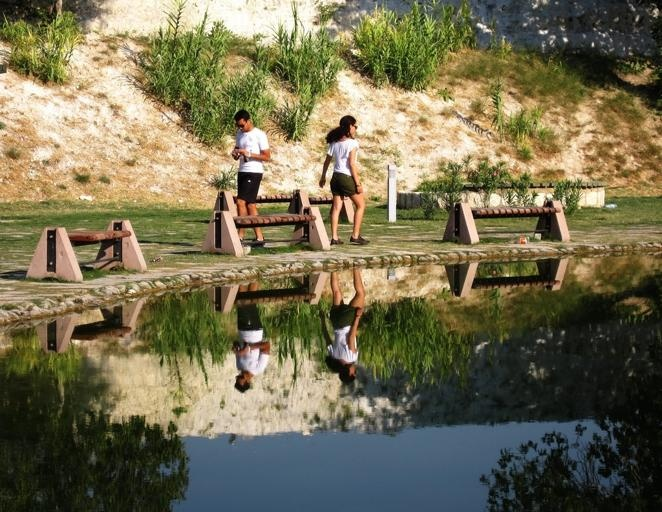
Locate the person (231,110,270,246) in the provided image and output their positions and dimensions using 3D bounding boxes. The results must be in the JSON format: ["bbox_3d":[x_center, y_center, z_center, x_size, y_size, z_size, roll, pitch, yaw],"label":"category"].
[{"bbox_3d":[-1.617,-1.779,24.327,0.703,2.242,0.821,0,22,-5],"label":"person"}]

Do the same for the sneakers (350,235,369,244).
[{"bbox_3d":[0.621,-0.356,25.624,0.386,0.268,0.166,0,6,-8],"label":"sneakers"}]

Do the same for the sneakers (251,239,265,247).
[{"bbox_3d":[-1.518,-0.274,24.887,0.266,0.162,0.123,5,12,16],"label":"sneakers"}]
